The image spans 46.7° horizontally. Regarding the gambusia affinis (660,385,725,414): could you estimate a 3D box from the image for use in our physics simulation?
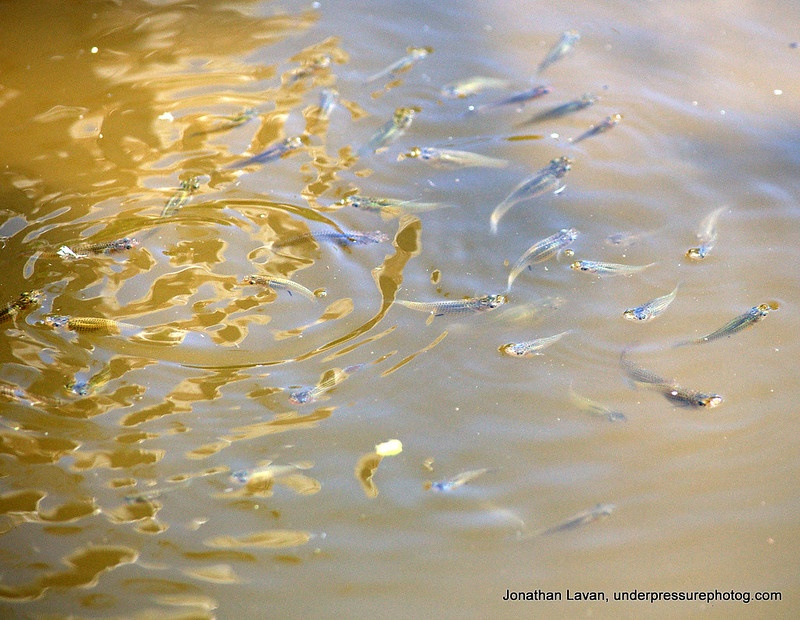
[{"bbox_3d":[1.532,0.465,4.821,0.421,0.096,0.096,5,1,9],"label":"gambusia affinis"}]
